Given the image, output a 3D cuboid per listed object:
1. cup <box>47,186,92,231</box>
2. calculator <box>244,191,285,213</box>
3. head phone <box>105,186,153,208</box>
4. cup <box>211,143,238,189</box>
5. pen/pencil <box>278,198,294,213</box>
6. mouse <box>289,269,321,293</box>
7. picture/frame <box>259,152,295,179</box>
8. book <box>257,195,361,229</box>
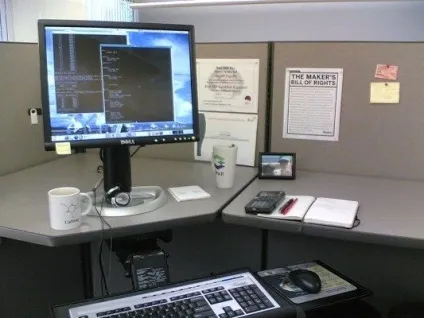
[{"bbox_3d":[-0.443,0.151,1.119,0.159,0.128,0.099,1,3,-45],"label":"cup"},{"bbox_3d":[0.190,0.149,1.224,0.094,0.031,0.172,-1,12,30],"label":"calculator"},{"bbox_3d":[-0.292,0.144,1.162,0.096,0.055,0.132,-8,21,-38],"label":"head phone"},{"bbox_3d":[0.048,0.024,1.398,0.096,0.170,0.115,5,15,14],"label":"cup"},{"bbox_3d":[0.250,0.158,1.174,0.020,0.019,0.136,11,27,31],"label":"pen/pencil"},{"bbox_3d":[0.304,0.385,1.134,0.058,0.032,0.091,-7,21,-24],"label":"mouse"},{"bbox_3d":[0.281,0.029,1.500,0.170,0.121,0.018,1,-1,28],"label":"picture/frame"},{"bbox_3d":[0.345,0.169,1.193,0.318,0.032,0.227,0,12,26],"label":"book"}]
